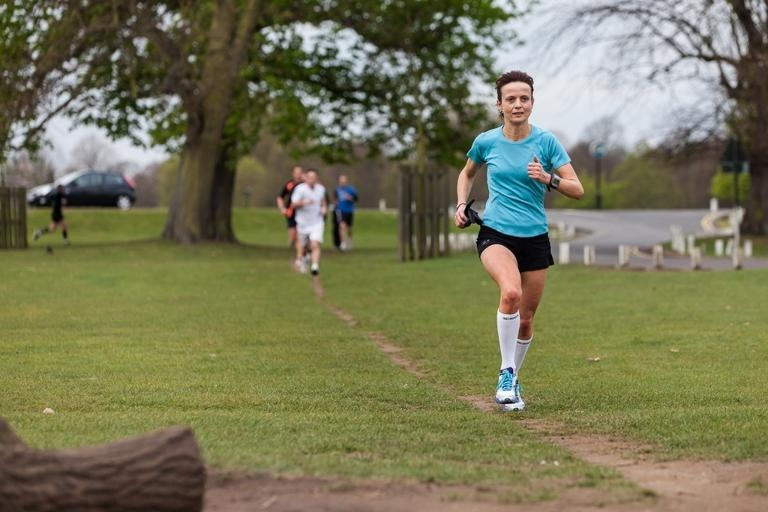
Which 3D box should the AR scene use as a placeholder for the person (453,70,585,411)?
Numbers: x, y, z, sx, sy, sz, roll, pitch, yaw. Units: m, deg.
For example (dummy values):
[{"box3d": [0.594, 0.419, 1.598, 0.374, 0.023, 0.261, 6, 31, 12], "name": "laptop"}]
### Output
[{"box3d": [1.144, -0.125, 12.131, 1.049, 2.864, 0.635, 4, 14, 12], "name": "person"}]
